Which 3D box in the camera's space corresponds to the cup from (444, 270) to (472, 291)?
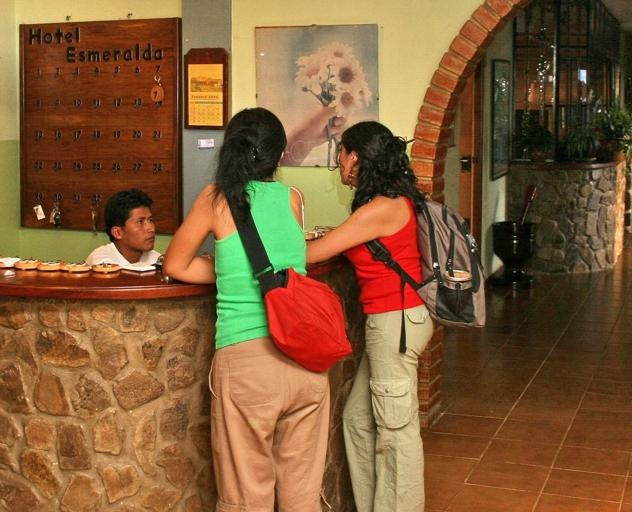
[{"bbox_3d":[0.635,0.103,2.566,0.124,0.079,0.072,-7,12,-30],"label":"cup"}]
